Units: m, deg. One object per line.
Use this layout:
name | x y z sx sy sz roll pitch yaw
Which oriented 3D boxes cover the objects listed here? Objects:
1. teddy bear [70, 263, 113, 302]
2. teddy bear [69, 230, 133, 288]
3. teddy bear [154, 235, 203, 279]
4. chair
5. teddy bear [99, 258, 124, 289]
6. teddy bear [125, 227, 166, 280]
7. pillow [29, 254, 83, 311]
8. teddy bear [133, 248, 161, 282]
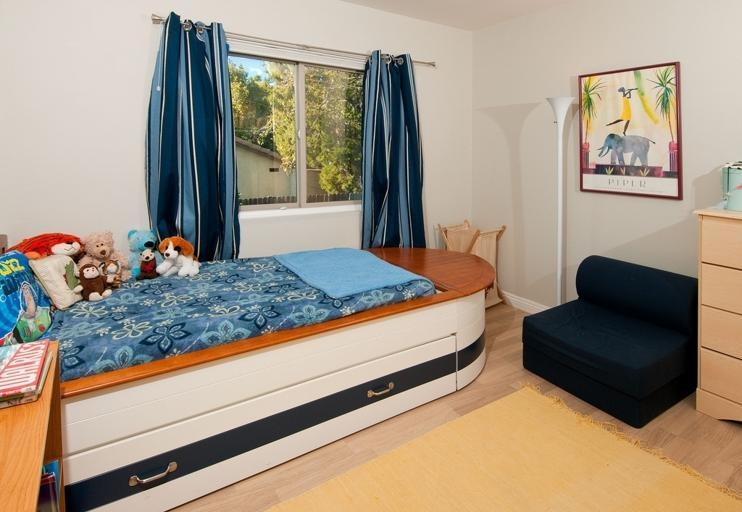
teddy bear | -1.876 0.178 3.192 0.177 0.261 0.257 -11 5 29
teddy bear | -1.927 0.011 3.414 0.303 0.346 0.233 -21 35 -35
teddy bear | -1.446 -0.015 3.648 0.278 0.277 0.379 7 16 15
chair | 1.752 0.568 3.567 1.122 0.907 1.053 -7 9 -30
teddy bear | -1.801 0.113 3.323 0.161 0.259 0.199 -4 1 -32
teddy bear | -1.686 -0.008 3.564 0.266 0.377 0.280 1 6 1
pillow | -1.971 0.154 3.016 0.094 0.299 0.316 -21 19 2
teddy bear | -1.642 0.055 3.508 0.201 0.288 0.195 -3 18 -46
